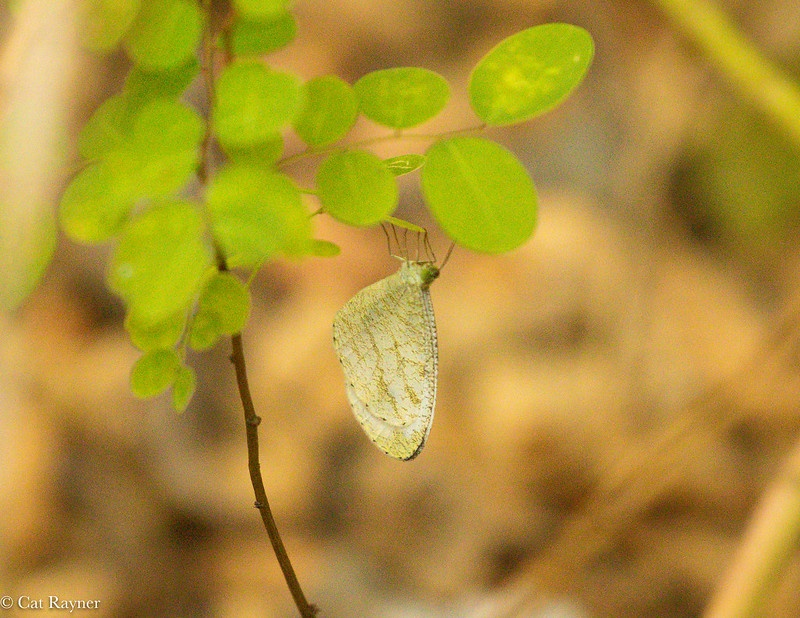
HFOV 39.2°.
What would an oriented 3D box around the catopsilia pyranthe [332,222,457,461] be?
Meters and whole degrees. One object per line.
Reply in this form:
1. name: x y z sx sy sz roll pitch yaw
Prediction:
1. catopsilia pyranthe: -0.028 0.090 1.875 0.177 0.323 0.244 5 42 -3
